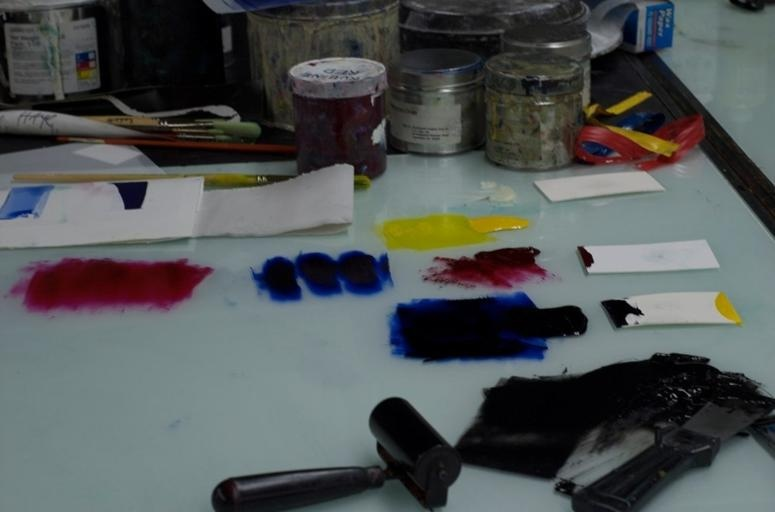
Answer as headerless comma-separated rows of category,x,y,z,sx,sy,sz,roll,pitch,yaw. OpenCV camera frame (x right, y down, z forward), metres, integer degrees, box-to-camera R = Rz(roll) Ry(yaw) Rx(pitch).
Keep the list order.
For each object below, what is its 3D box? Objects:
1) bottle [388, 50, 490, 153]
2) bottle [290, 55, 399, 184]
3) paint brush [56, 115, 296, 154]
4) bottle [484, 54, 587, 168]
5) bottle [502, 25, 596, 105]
bottle,0.077,-0.244,1.166,0.154,0.133,0.160,-11,29,-16
bottle,-0.077,-0.209,1.068,0.158,0.158,0.141,-32,49,-33
paint brush,-0.367,-0.202,1.166,0.386,0.060,0.058,1,7,2
bottle,0.215,-0.220,1.139,0.160,0.151,0.172,-8,37,-6
bottle,0.278,-0.335,1.205,0.146,0.142,0.150,1,17,9
